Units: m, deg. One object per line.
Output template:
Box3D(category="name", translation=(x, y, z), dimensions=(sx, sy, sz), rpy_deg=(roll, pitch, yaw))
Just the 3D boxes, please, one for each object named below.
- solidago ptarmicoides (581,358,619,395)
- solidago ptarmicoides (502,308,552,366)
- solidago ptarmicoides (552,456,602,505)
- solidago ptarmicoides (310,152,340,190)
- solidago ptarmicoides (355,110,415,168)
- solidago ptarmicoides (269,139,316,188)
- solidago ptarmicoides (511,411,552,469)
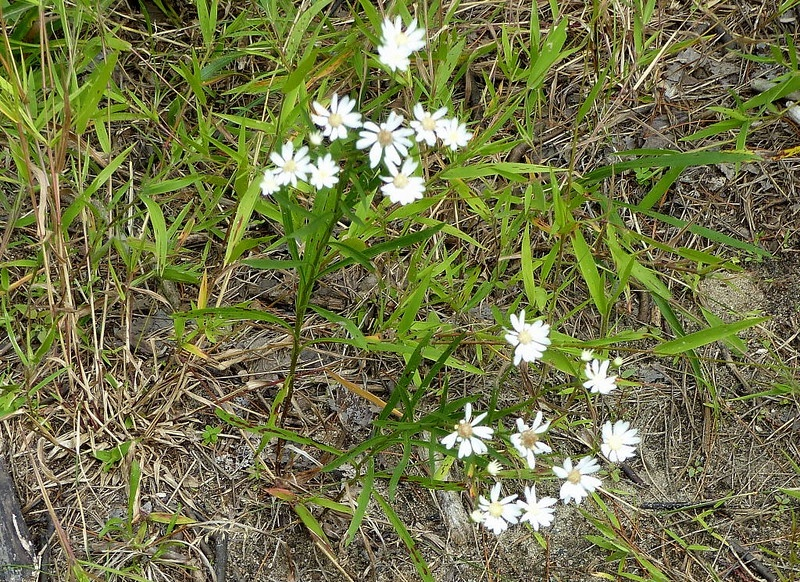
Box3D(category="solidago ptarmicoides", translation=(0.575, 0.251, 2.067), dimensions=(0.117, 0.263, 0.095), rpy_deg=(-3, 81, -1))
Box3D(category="solidago ptarmicoides", translation=(0.350, 0.136, 1.995), dimensions=(0.120, 0.196, 0.138), rpy_deg=(-15, 82, -3))
Box3D(category="solidago ptarmicoides", translation=(0.484, 0.493, 1.957), dimensions=(0.120, 0.137, 0.054), rpy_deg=(26, 104, 2))
Box3D(category="solidago ptarmicoides", translation=(-0.195, -0.294, 1.850), dimensions=(0.075, 0.153, 0.084), rpy_deg=(-9, 82, -2))
Box3D(category="solidago ptarmicoides", translation=(-0.046, -0.358, 1.795), dimensions=(0.127, 0.036, 0.154), rpy_deg=(19, 81, -10))
Box3D(category="solidago ptarmicoides", translation=(-0.291, -0.340, 1.883), dimensions=(0.114, 0.044, 0.131), rpy_deg=(22, 106, 8))
Box3D(category="solidago ptarmicoides", translation=(0.362, 0.417, 1.980), dimensions=(0.104, 0.187, 0.162), rpy_deg=(8, 82, 0))
